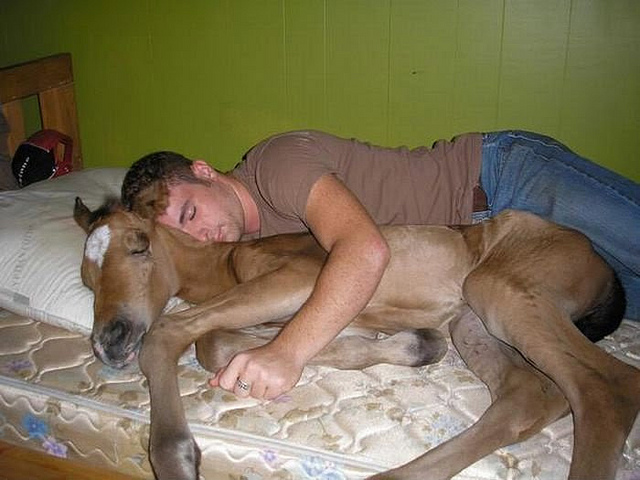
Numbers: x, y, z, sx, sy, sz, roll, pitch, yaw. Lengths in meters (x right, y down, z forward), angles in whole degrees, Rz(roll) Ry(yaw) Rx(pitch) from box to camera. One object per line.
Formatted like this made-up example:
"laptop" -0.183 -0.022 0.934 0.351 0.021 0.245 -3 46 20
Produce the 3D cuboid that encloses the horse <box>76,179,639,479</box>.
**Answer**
"horse" 0.111 0.260 1.460 1.129 0.326 0.748 -1 41 -7

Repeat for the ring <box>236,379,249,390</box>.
"ring" -0.195 0.359 1.362 0.021 0.015 0.027 29 -11 15
